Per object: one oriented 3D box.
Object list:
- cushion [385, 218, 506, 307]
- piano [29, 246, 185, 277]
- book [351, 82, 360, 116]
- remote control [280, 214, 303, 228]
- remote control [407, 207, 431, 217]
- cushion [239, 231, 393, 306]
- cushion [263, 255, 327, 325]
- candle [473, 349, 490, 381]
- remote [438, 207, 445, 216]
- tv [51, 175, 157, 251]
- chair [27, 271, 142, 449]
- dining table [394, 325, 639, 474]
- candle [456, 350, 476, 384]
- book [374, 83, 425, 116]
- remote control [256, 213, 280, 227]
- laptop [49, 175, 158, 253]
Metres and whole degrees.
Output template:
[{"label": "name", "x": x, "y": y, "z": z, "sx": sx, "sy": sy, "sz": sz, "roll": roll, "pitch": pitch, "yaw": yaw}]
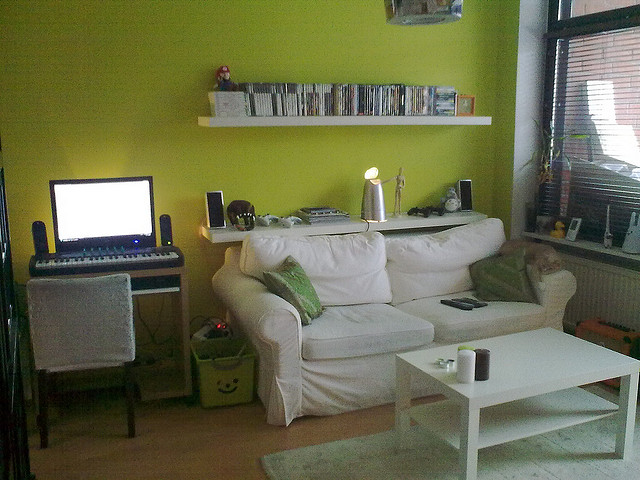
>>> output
[{"label": "cushion", "x": 1.087, "y": 0.201, "z": 4.500, "sx": 1.052, "sy": 0.528, "sz": 0.337, "roll": -12, "pitch": 4, "yaw": 9}, {"label": "piano", "x": -1.499, "y": 0.132, "z": 3.804, "sx": 1.006, "sy": 0.170, "sz": 0.381, "roll": -8, "pitch": 13, "yaw": -15}, {"label": "book", "x": 0.296, "y": -1.174, "z": 4.476, "sx": 0.050, "sy": 0.203, "sz": 0.210, "roll": 1, "pitch": 2, "yaw": 9}, {"label": "remote control", "x": -0.262, "y": -0.157, "z": 4.416, "sx": 0.121, "sy": 0.110, "sz": 0.049, "roll": -3, "pitch": -10, "yaw": -33}, {"label": "remote control", "x": 0.896, "y": -0.254, "z": 4.870, "sx": 0.210, "sy": 0.077, "sz": 0.130, "roll": 2, "pitch": 14, "yaw": 28}, {"label": "cushion", "x": 0.022, "y": 0.290, "z": 4.229, "sx": 1.320, "sy": 0.681, "sz": 0.407, "roll": -6, "pitch": -9, "yaw": -31}, {"label": "cushion", "x": -0.179, "y": 0.362, "z": 3.805, "sx": 0.346, "sy": 0.415, "sz": 0.413, "roll": -3, "pitch": 13, "yaw": 11}, {"label": "candle", "x": 0.894, "y": 0.689, "z": 2.947, "sx": 0.075, "sy": 0.154, "sz": 0.080, "roll": -1, "pitch": 14, "yaw": 18}, {"label": "remote", "x": 1.101, "y": -0.261, "z": 4.866, "sx": 0.015, "sy": 0.059, "sz": 0.055, "roll": 12, "pitch": -20, "yaw": -37}, {"label": "tv", "x": -1.612, "y": -0.202, "z": 3.921, "sx": 0.563, "sy": 0.387, "sz": 0.020, "roll": -3, "pitch": 4, "yaw": -16}, {"label": "chair", "x": -1.489, "y": 0.685, "z": 3.529, "sx": 0.801, "sy": 1.009, "sz": 0.805, "roll": -8, "pitch": 13, "yaw": -44}, {"label": "dining table", "x": 1.141, "y": 0.931, "z": 3.236, "sx": 1.413, "sy": 0.826, "sz": 0.689, "roll": -9, "pitch": 13, "yaw": -15}, {"label": "candle", "x": 0.801, "y": 0.693, "z": 2.921, "sx": 0.103, "sy": 0.168, "sz": 0.083, "roll": -2, "pitch": 13, "yaw": 15}, {"label": "book", "x": 0.688, "y": -1.201, "z": 4.613, "sx": 0.544, "sy": 0.266, "sz": 0.124, "roll": -1, "pitch": 7, "yaw": -22}, {"label": "remote control", "x": -0.438, "y": -0.191, "z": 4.429, "sx": 0.108, "sy": 0.059, "sz": 0.155, "roll": 19, "pitch": 18, "yaw": 32}, {"label": "laptop", "x": -1.616, "y": -0.193, "z": 3.922, "sx": 0.576, "sy": 0.414, "sz": 0.040, "roll": -4, "pitch": 5, "yaw": -17}]
